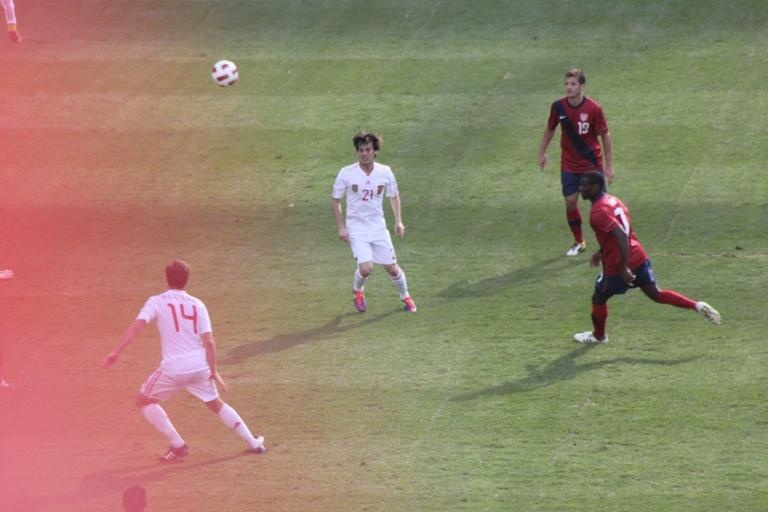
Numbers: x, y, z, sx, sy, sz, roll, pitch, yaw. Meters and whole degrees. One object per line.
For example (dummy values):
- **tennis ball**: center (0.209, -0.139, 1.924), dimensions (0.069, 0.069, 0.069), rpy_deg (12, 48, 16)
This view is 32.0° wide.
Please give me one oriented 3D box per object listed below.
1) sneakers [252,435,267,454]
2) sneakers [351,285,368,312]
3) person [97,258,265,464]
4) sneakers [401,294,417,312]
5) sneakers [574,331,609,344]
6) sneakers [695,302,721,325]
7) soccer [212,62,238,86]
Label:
- **sneakers**: center (-1.821, 2.725, 19.480), dimensions (0.164, 0.237, 0.073), rpy_deg (7, 9, -11)
- **sneakers**: center (-0.420, 0.720, 22.215), dimensions (0.179, 0.431, 0.187), rpy_deg (-10, -10, -5)
- **person**: center (-2.890, 1.548, 19.173), dimensions (1.639, 2.874, 0.591), rpy_deg (-11, 16, -7)
- **sneakers**: center (0.385, 0.770, 22.151), dimensions (0.163, 0.139, 0.325), rpy_deg (-26, 45, -1)
- **sneakers**: center (3.270, 1.266, 21.293), dimensions (0.550, 0.207, 0.194), rpy_deg (4, 15, 10)
- **sneakers**: center (5.029, 0.893, 20.785), dimensions (0.158, 0.440, 0.275), rpy_deg (-54, -2, -7)
- **soccer**: center (-3.104, -3.563, 26.223), dimensions (0.508, 0.470, 0.517), rpy_deg (1, 3, 42)
